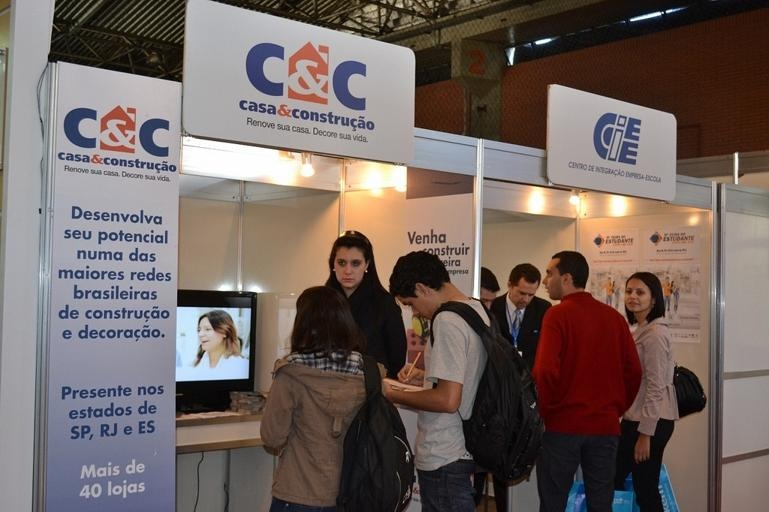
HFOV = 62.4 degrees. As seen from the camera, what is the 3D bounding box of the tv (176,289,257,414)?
[{"bbox_3d":[-1.205,0.694,4.452,0.800,0.999,0.118,1,-3,-25],"label":"tv"}]
